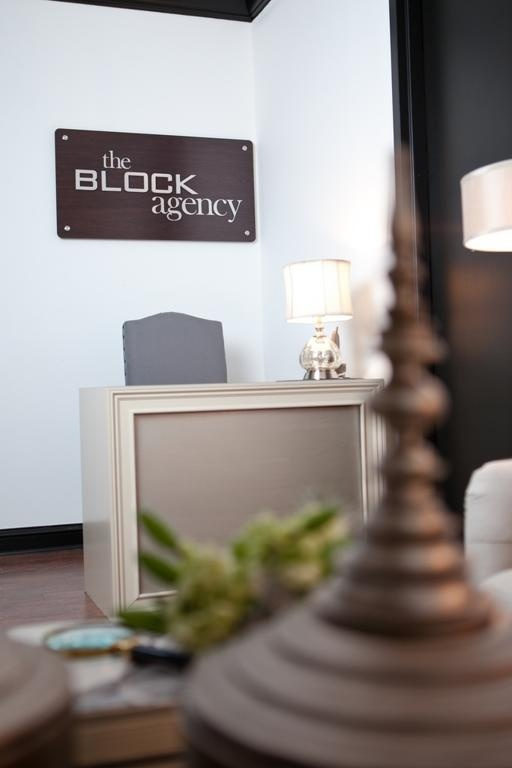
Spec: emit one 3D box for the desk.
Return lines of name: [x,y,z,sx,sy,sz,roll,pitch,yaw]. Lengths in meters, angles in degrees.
desk: [-0.017,0.355,2.258,0.941,0.612,0.491,-3,-19,0]

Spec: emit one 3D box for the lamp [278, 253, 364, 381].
lamp: [0.241,-0.251,2.563,0.267,0.448,0.626,-5,5,8]
